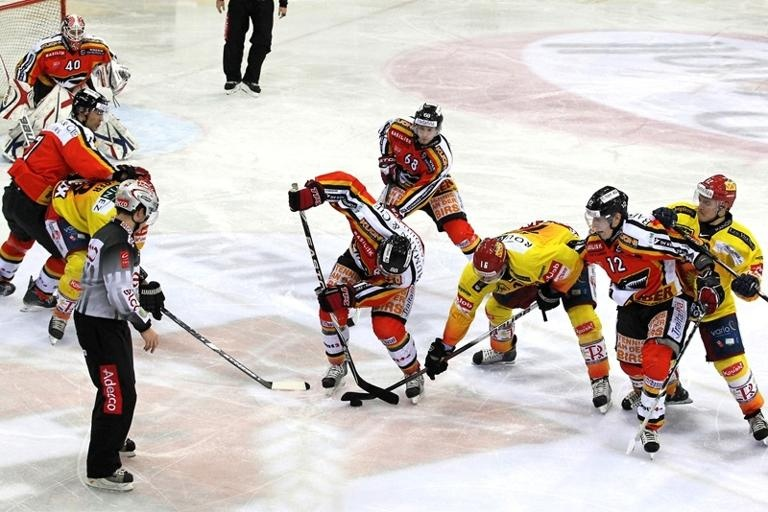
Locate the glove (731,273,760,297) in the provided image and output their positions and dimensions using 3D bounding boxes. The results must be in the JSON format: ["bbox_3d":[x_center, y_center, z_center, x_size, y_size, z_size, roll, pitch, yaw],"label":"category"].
[{"bbox_3d":[2.344,0.201,5.316,0.173,0.154,0.136,5,25,11],"label":"glove"}]

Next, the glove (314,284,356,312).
[{"bbox_3d":[-0.331,0.306,5.715,0.241,0.257,0.231,-5,25,-10],"label":"glove"}]

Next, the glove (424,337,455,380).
[{"bbox_3d":[0.382,0.729,5.794,0.138,0.295,0.228,30,21,-25],"label":"glove"}]

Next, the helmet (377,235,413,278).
[{"bbox_3d":[0.076,0.012,5.541,0.268,0.234,0.244,20,-12,-11],"label":"helmet"}]

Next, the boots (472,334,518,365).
[{"bbox_3d":[0.913,0.739,6.284,0.527,0.213,0.139,2,19,-5],"label":"boots"}]

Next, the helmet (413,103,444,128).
[{"bbox_3d":[0.334,-1.165,6.816,0.225,0.214,0.221,12,57,6],"label":"helmet"}]

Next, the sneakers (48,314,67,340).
[{"bbox_3d":[-2.394,0.530,6.092,0.131,0.076,0.229,-2,29,-8],"label":"sneakers"}]

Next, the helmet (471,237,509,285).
[{"bbox_3d":[0.714,0.018,5.624,0.297,0.234,0.285,-1,50,5],"label":"helmet"}]

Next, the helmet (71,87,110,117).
[{"bbox_3d":[-2.272,-1.194,6.361,0.343,0.198,0.210,-6,29,-10],"label":"helmet"}]

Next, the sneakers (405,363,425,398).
[{"bbox_3d":[0.254,0.892,5.741,0.113,0.114,0.281,-4,23,16],"label":"sneakers"}]

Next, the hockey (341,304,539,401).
[{"bbox_3d":[0.409,0.626,5.913,1.804,0.196,0.541,-19,-1,-18],"label":"hockey"}]

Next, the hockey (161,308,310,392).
[{"bbox_3d":[-1.116,0.730,6.134,0.966,0.074,0.208,33,51,20],"label":"hockey"}]

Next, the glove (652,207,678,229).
[{"bbox_3d":[1.844,-0.235,5.361,0.186,0.054,0.127,23,35,4],"label":"glove"}]

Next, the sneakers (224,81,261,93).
[{"bbox_3d":[-1.940,-2.331,11.313,0.580,0.189,0.167,0,35,2],"label":"sneakers"}]

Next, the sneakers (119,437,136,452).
[{"bbox_3d":[-1.548,1.160,4.993,0.067,0.050,0.130,1,-1,-11],"label":"sneakers"}]

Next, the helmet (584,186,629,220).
[{"bbox_3d":[1.441,-0.336,5.284,0.313,0.187,0.200,3,7,-2],"label":"helmet"}]
